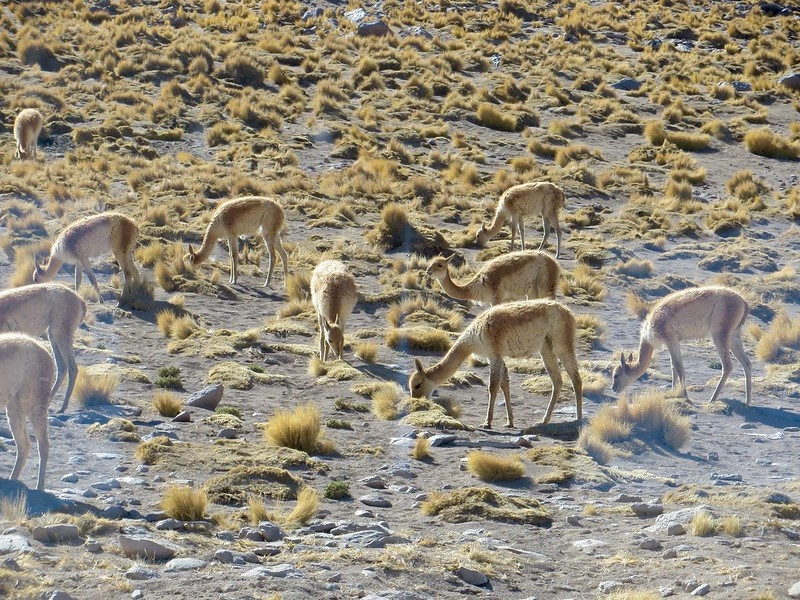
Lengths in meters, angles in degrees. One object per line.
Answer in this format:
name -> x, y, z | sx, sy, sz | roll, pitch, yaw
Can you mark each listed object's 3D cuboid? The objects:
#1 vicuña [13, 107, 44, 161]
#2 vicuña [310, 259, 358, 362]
vicuña -> -11.613, -5.149, 37.282 | 0.768, 1.635, 1.335 | 3, -5, -17
vicuña -> -1.341, 0.216, 23.861 | 0.736, 2.019, 1.219 | 3, -4, -12
